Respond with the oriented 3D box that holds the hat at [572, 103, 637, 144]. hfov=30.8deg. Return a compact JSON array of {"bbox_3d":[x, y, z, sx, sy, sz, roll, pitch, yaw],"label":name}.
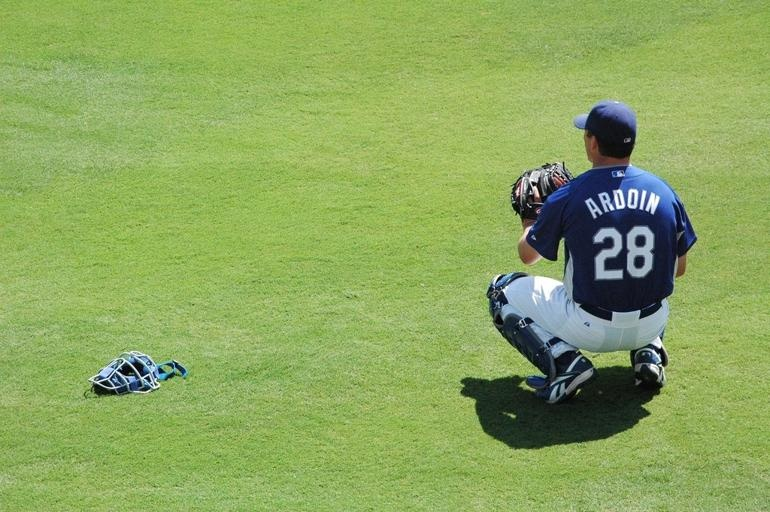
[{"bbox_3d":[1.653,-1.006,10.546,0.322,0.224,0.402,-19,44,-26],"label":"hat"}]
